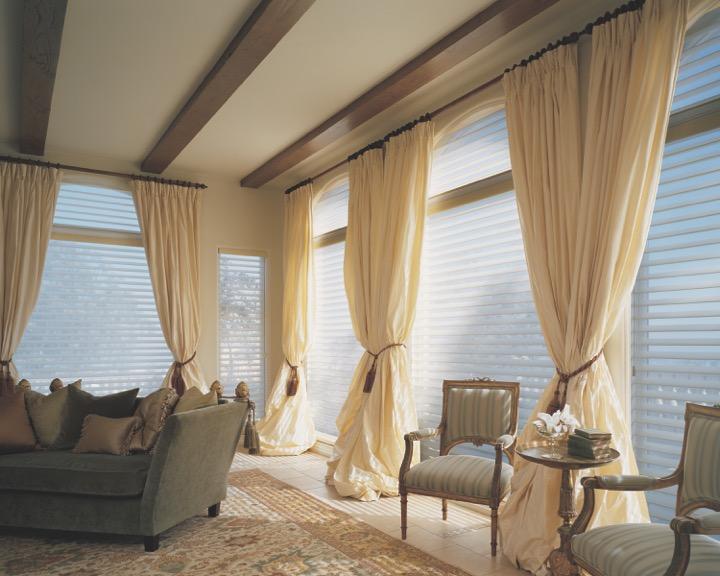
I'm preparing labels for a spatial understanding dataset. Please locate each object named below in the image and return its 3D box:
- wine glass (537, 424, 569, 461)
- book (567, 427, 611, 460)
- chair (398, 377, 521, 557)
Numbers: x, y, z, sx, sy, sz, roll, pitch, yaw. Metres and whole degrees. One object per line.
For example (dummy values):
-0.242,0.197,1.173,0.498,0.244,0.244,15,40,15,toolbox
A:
1.196,0.933,3.230,0.177,0.143,0.160,5,-10,-33,wine glass
1.298,0.884,3.044,0.181,0.106,0.176,-1,2,-29,book
0.743,1.230,3.877,0.827,1.021,0.777,-3,-4,21,chair
